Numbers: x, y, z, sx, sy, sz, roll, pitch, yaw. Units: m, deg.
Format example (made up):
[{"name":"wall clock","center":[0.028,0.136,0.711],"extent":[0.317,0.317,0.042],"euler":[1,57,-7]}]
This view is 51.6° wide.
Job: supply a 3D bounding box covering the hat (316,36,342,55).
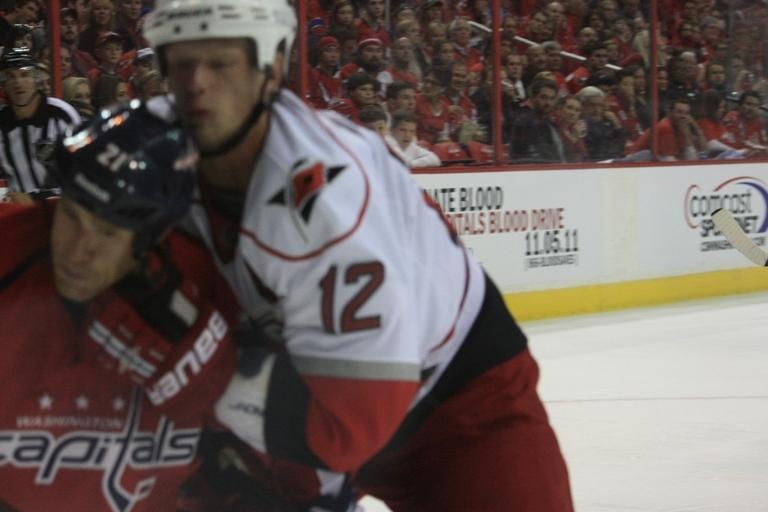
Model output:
[{"name":"hat","center":[-0.368,-1.430,5.360],"extent":[0.185,0.103,0.036],"euler":[-7,13,-43]}]
